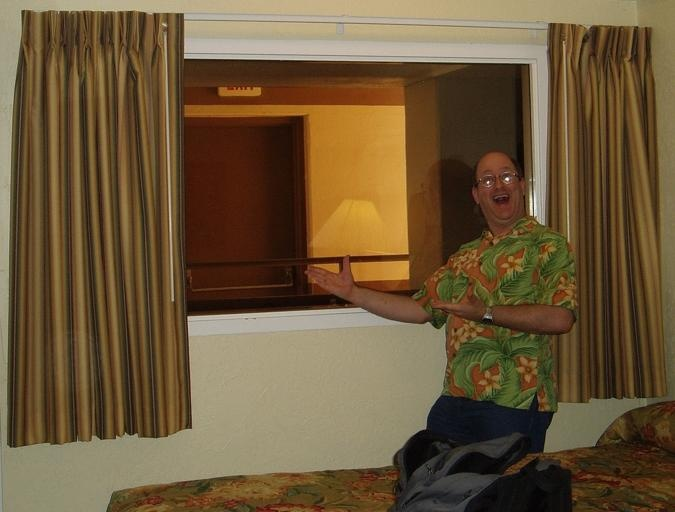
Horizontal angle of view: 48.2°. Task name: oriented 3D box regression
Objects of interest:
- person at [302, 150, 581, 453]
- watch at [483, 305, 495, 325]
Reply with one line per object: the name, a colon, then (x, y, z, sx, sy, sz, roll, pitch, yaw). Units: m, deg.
person: (0.549, 0.489, 3.386, 1.069, 1.957, 0.722, -5, -18, 32)
watch: (0.615, 0.239, 3.093, 0.039, 0.067, 0.065, 1, -19, 10)
